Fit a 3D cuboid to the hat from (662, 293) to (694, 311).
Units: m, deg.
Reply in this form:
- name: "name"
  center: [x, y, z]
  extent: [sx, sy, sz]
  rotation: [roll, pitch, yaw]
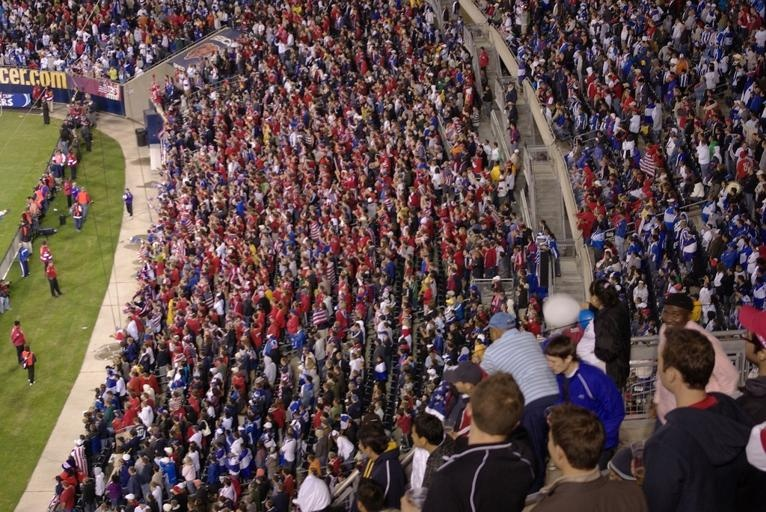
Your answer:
- name: "hat"
  center: [6.429, 0.994, 23.828]
  extent: [0.406, 0.281, 0.433]
  rotation: [18, 1, 13]

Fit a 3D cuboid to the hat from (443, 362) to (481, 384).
- name: "hat"
  center: [1.728, 2.506, 23.454]
  extent: [0.798, 0.476, 0.356]
  rotation: [-7, -4, 7]
